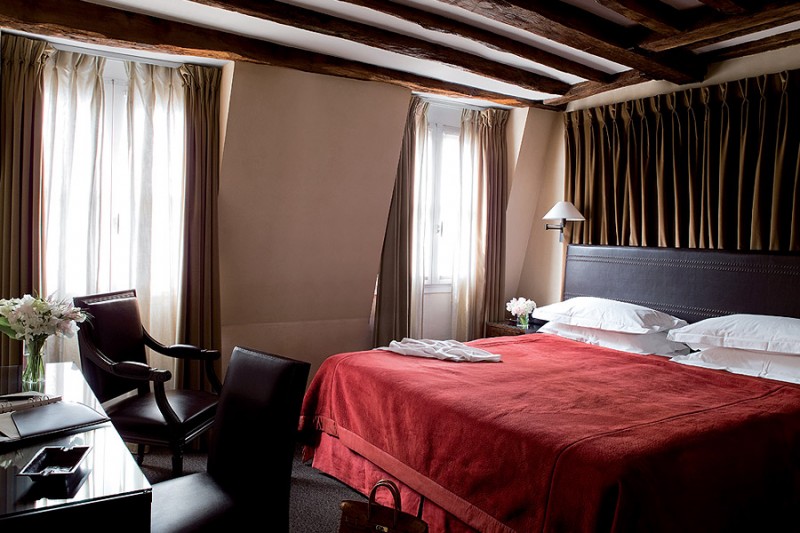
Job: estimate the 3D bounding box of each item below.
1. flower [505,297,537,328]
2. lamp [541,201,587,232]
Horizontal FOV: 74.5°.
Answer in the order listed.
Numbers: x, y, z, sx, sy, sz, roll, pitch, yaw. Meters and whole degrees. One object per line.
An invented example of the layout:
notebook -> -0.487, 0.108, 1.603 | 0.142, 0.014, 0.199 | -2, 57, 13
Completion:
flower -> 1.263, 0.475, 5.498 | 0.311, 0.304, 0.304 | 0, -6, -12
lamp -> 1.626, -0.509, 5.291 | 0.365, 0.286, 0.347 | 1, 1, -1
